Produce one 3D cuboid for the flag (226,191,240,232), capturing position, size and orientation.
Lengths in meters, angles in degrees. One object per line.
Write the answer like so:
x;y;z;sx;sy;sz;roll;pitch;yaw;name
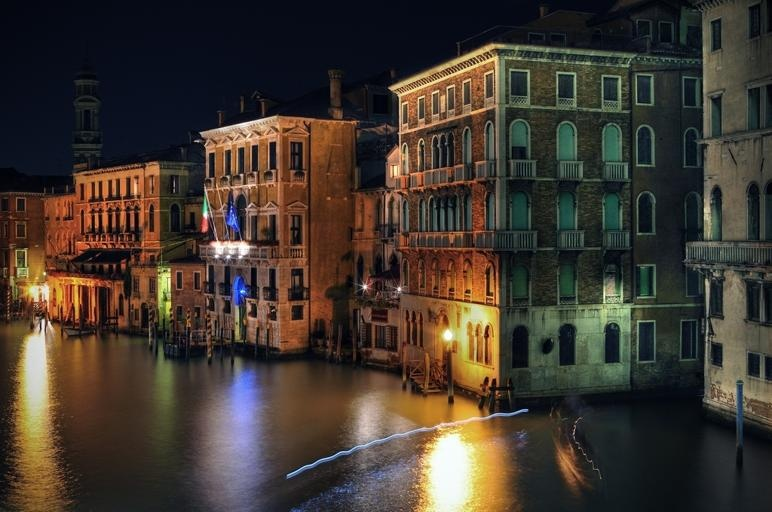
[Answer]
-13.421;-3.602;90.547;1.173;3.615;3.579;-3;11;-9;flag
